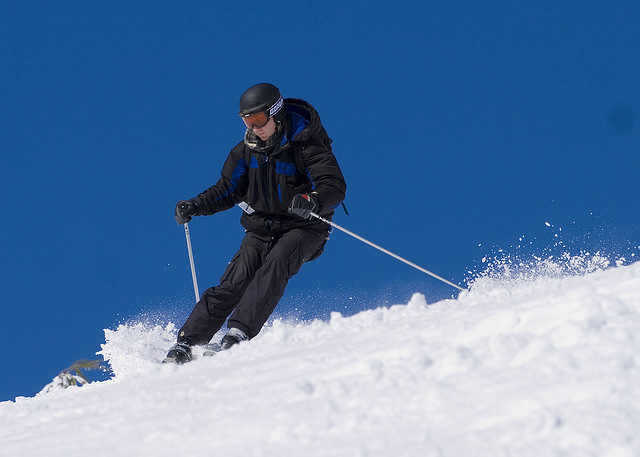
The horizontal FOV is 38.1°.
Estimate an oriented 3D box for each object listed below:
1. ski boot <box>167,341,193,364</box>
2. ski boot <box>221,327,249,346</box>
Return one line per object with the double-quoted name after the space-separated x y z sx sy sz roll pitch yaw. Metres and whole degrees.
-1.165 1.019 7.724 0.205 0.173 0.252 -6 -7 -8 "ski boot"
-0.701 0.879 7.708 0.129 0.141 0.227 -13 -9 37 "ski boot"
